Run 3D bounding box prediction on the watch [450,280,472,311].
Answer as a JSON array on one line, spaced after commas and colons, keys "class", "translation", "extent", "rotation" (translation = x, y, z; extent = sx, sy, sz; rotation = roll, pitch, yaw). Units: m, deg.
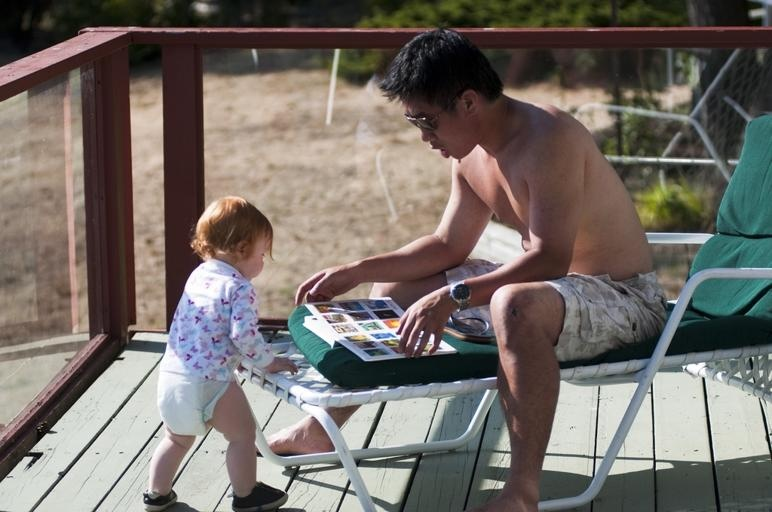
[{"class": "watch", "translation": [0.244, 0.129, 2.854], "extent": [0.064, 0.094, 0.089], "rotation": [-2, -12, -11]}]
